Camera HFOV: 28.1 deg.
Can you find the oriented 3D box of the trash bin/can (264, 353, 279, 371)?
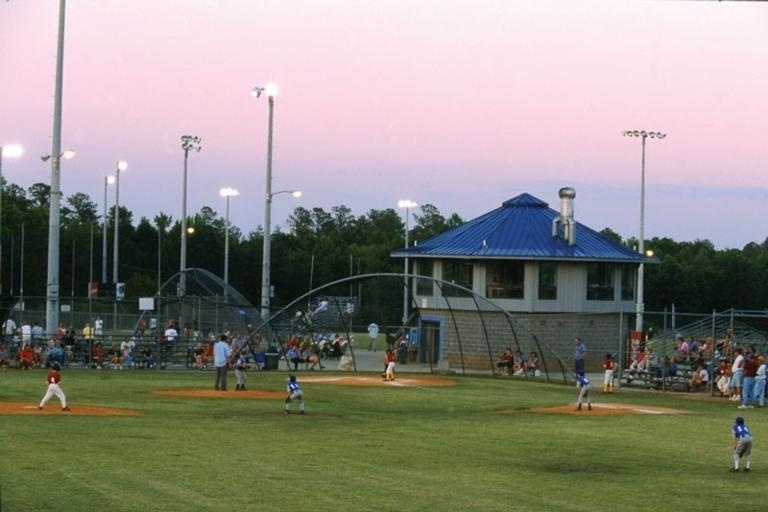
[{"bbox_3d":[-6.664,6.214,90.585,1.113,1.121,0.855,1,-4,-19],"label":"trash bin/can"}]
